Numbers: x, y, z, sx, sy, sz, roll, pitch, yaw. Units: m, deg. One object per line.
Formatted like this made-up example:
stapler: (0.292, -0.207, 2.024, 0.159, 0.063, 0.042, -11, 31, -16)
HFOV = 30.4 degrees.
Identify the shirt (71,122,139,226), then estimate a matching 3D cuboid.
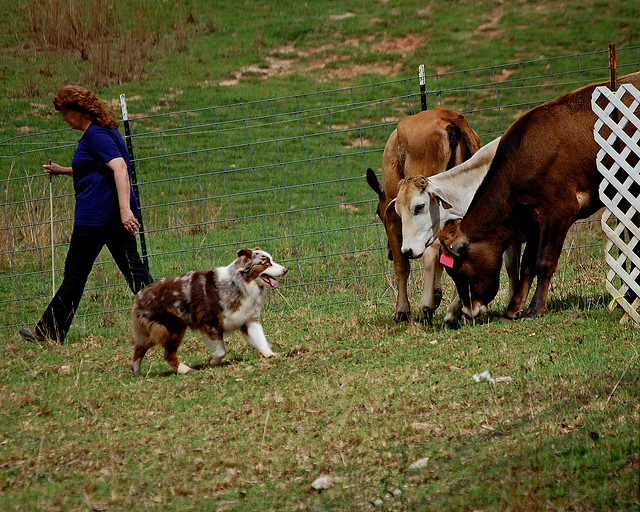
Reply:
shirt: (-3.141, -1.027, 17.216, 0.821, 1.593, 1.418, -5, -17, -7)

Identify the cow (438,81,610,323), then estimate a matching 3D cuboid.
cow: (2.840, -0.638, 16.285, 2.038, 3.145, 0.795, 1, 15, 13)

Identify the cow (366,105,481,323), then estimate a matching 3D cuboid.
cow: (1.564, -0.364, 18.549, 1.053, 3.369, 4.470, -2, -10, -10)
